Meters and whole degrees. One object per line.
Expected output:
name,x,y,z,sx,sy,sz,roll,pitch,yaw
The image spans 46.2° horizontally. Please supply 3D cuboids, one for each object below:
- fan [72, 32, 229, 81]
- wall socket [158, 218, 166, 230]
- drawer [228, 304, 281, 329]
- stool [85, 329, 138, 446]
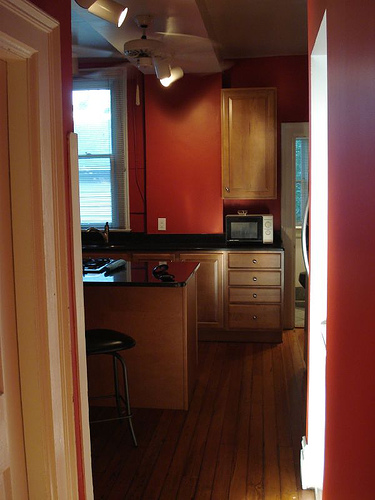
fan,-0.350,-1.569,3.607,0.847,0.269,0.877,6,11,38
wall socket,-0.256,-0.280,4.722,0.104,0.172,0.017,1,6,11
drawer,0.636,0.642,4.263,0.466,0.238,0.323,3,8,9
stool,-0.390,0.778,2.515,0.360,0.640,0.410,0,6,3
